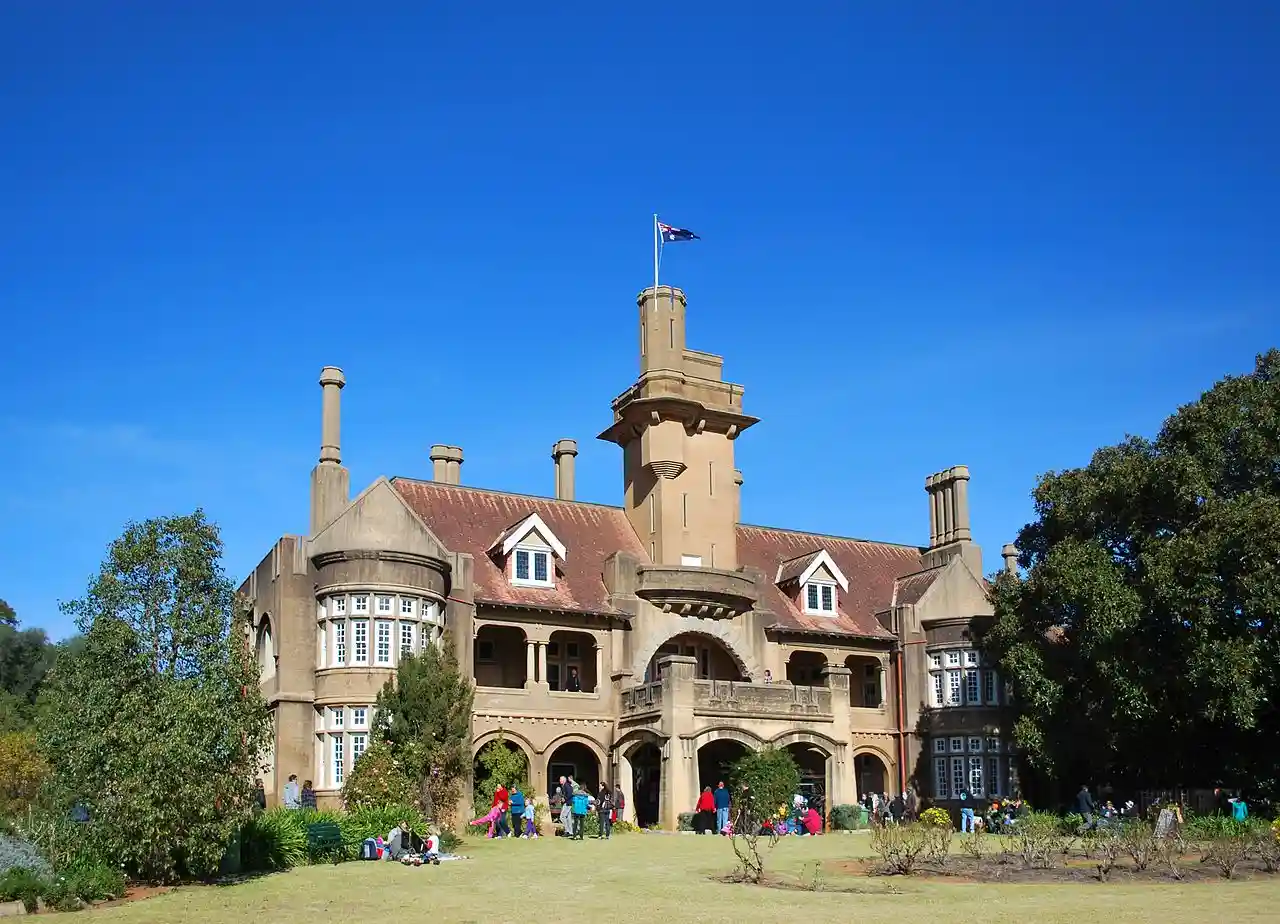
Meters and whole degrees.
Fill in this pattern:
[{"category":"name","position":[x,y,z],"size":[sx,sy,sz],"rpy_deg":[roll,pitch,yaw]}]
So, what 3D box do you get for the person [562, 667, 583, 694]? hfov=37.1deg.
[{"category":"person","position":[-2.902,9.086,79.415],"size":[0.626,1.429,0.416],"rpy_deg":[7,-27,-20]}]
